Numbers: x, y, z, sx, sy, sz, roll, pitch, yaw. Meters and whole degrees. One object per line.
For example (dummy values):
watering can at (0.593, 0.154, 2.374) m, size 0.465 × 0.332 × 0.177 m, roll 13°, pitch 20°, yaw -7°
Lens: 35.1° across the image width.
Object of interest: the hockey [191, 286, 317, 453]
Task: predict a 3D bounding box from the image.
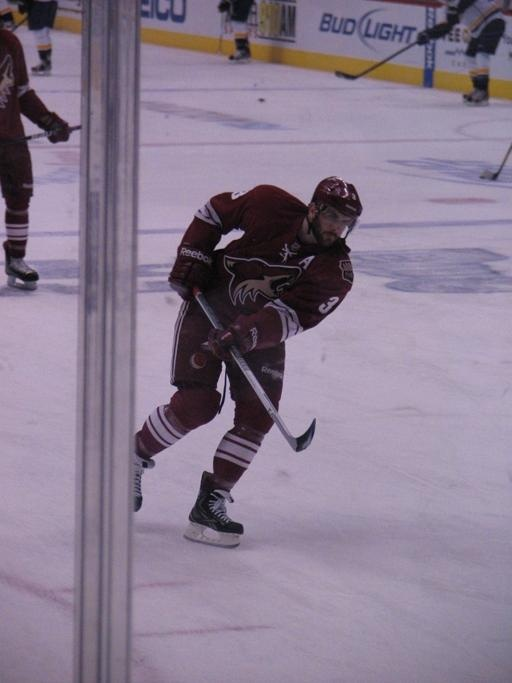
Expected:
hockey at (-0.052, -0.010, 1.931) m, size 0.038 × 0.126 × 0.713 m, roll 36°, pitch 18°, yaw -43°

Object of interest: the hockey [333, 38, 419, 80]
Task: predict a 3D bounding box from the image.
hockey at (1.104, -2.599, 7.506) m, size 0.307 × 0.358 × 0.879 m, roll -3°, pitch 15°, yaw -36°

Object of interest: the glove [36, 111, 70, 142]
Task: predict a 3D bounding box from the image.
glove at (-0.886, -0.964, 3.642) m, size 0.184 × 0.093 × 0.069 m, roll 30°, pitch 2°, yaw -27°

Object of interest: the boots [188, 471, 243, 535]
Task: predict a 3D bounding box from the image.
boots at (-0.076, 0.393, 1.895) m, size 0.173 × 0.120 × 0.059 m, roll 4°, pitch -3°, yaw 45°

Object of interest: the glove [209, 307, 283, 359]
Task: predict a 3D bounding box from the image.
glove at (-0.008, -0.018, 1.780) m, size 0.168 × 0.056 × 0.106 m, roll -13°, pitch 30°, yaw -4°

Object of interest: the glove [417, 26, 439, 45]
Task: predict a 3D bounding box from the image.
glove at (1.495, -2.635, 6.931) m, size 0.248 × 0.073 × 0.180 m, roll -13°, pitch 13°, yaw -43°

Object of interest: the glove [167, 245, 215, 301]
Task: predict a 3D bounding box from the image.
glove at (-0.159, -0.167, 1.989) m, size 0.130 × 0.123 × 0.051 m, roll 16°, pitch -1°, yaw -1°

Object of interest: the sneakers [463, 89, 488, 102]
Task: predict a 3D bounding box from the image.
sneakers at (1.892, -2.106, 6.932) m, size 0.217 × 0.108 × 0.110 m, roll 6°, pitch 17°, yaw 5°

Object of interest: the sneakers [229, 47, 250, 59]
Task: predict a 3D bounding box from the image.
sneakers at (-0.167, -2.932, 8.219) m, size 0.204 × 0.088 × 0.115 m, roll -19°, pitch 37°, yaw -12°
